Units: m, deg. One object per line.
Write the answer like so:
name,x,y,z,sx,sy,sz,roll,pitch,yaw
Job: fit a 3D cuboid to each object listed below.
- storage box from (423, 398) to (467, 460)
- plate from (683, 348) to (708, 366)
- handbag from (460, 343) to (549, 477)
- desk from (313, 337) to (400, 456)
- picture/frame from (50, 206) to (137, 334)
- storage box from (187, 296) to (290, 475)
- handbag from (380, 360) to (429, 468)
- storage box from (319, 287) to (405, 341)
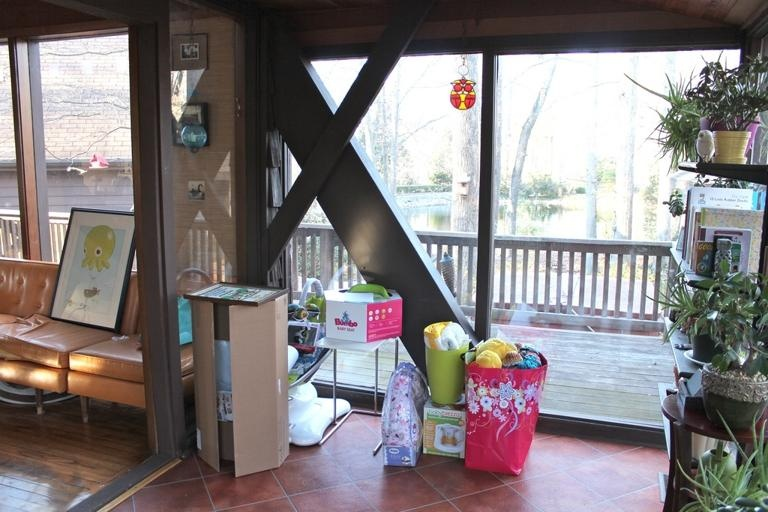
storage box,0.455,1.333,4.558,0.383,0.370,0.384,1,3,13
plate,1.958,0.647,3.662,0.097,0.021,0.096,-10,15,-44
handbag,0.857,1.180,4.336,0.605,0.771,0.484,6,1,-8
desk,-0.221,1.068,4.769,0.743,1.098,0.834,2,2,12
picture/frame,-2.547,0.162,5.105,0.984,1.239,0.088,7,-5,27
storage box,-1.034,0.928,4.439,0.660,1.221,0.692,2,1,18
handbag,0.156,1.205,4.406,0.282,0.717,0.346,3,8,16
storage box,-0.133,0.568,4.784,0.669,0.342,0.667,3,-4,25
